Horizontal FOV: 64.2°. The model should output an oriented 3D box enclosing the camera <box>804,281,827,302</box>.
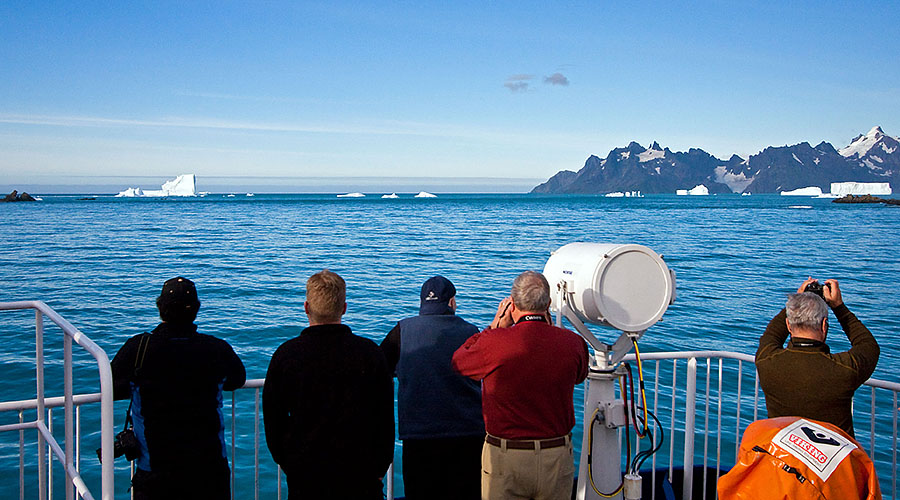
[{"bbox_3d":[4.821,0.552,9.489,0.282,0.242,0.127,3,-4,-24],"label":"camera"}]
